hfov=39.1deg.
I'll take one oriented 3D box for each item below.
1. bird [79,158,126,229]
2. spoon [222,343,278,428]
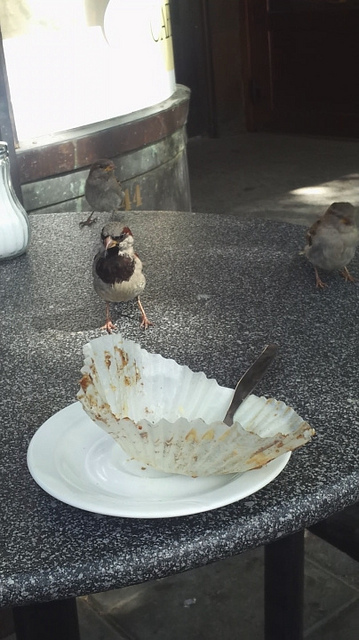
[{"bbox_3d":[-0.321,-0.554,2.116,0.150,0.312,0.297,3,38,-8],"label":"bird"},{"bbox_3d":[0.083,0.074,0.596,0.036,0.022,0.184,17,25,10],"label":"spoon"}]
